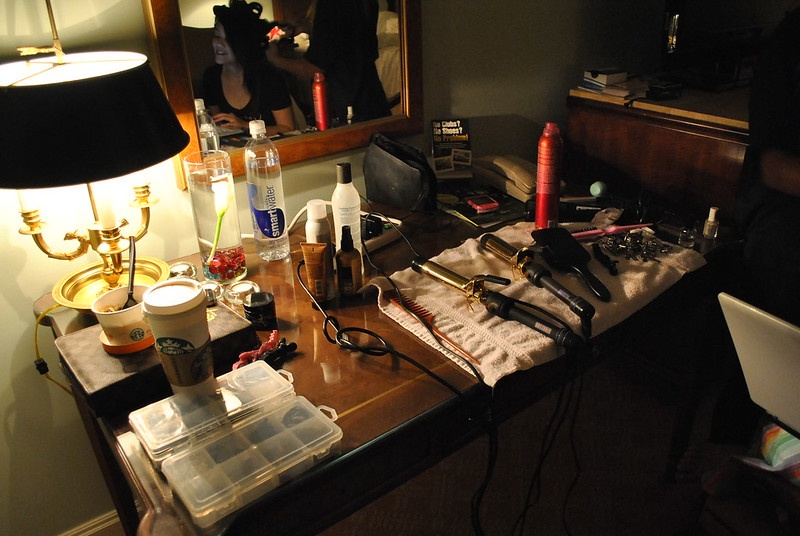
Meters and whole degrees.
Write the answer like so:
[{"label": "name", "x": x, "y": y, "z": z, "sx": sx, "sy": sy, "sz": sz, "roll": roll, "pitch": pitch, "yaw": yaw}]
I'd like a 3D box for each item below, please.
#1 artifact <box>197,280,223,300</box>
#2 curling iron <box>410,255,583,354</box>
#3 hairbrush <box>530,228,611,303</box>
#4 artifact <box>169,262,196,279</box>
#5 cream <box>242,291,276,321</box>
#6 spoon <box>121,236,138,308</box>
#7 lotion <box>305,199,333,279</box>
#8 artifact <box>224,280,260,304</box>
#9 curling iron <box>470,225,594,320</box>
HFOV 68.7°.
[{"label": "artifact", "x": -0.496, "y": 0.051, "z": 1.528, "sx": 0.058, "sy": 0.027, "sz": 0.071, "roll": 1, "pitch": 31, "yaw": -9}, {"label": "curling iron", "x": 0.243, "y": 0.077, "z": 1.530, "sx": 0.475, "sy": 0.094, "sz": 0.106, "roll": 26, "pitch": 37, "yaw": 23}, {"label": "hairbrush", "x": 0.478, "y": -0.016, "z": 1.619, "sx": 0.120, "sy": 0.035, "sz": 0.250, "roll": -11, "pitch": 43, "yaw": -16}, {"label": "artifact", "x": -0.596, "y": -0.002, "z": 1.601, "sx": 0.066, "sy": 0.031, "sz": 0.063, "roll": -1, "pitch": 34, "yaw": -1}, {"label": "cream", "x": -0.359, "y": 0.098, "z": 1.497, "sx": 0.072, "sy": 0.053, "sz": 0.072, "roll": 25, "pitch": 37, "yaw": 34}, {"label": "spoon", "x": -0.666, "y": -0.010, "z": 1.461, "sx": 0.049, "sy": 0.032, "sz": 0.210, "roll": -4, "pitch": 74, "yaw": -6}, {"label": "lotion", "x": -0.207, "y": -0.077, "z": 1.595, "sx": 0.066, "sy": 0.201, "sz": 0.076, "roll": -10, "pitch": 33, "yaw": -28}, {"label": "artifact", "x": -0.428, "y": 0.062, "z": 1.562, "sx": 0.072, "sy": 0.027, "sz": 0.070, "roll": 5, "pitch": 24, "yaw": 8}, {"label": "curling iron", "x": 0.367, "y": 0.004, "z": 1.625, "sx": 0.401, "sy": 0.205, "sz": 0.277, "roll": -9, "pitch": 25, "yaw": -29}]
